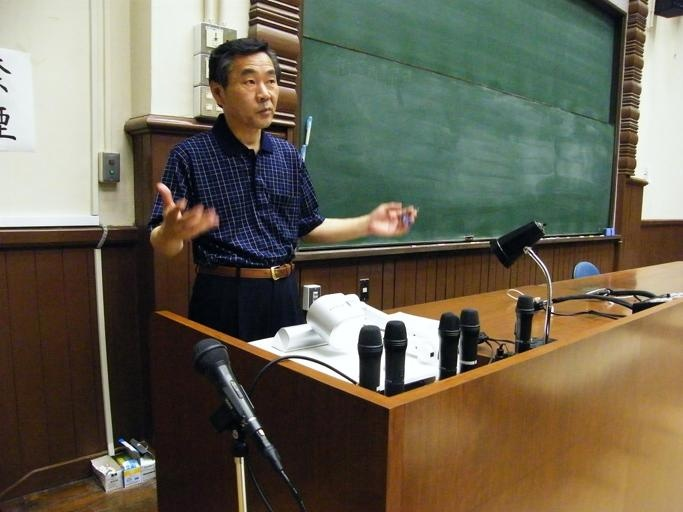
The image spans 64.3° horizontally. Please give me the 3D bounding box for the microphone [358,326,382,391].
[{"bbox_3d":[0.078,0.281,1.504,0.066,0.176,0.060,4,11,2],"label":"microphone"}]

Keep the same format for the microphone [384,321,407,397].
[{"bbox_3d":[0.155,0.282,1.556,0.067,0.217,0.136,5,11,8],"label":"microphone"}]

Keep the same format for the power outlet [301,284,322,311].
[{"bbox_3d":[-0.168,0.220,2.951,0.075,0.165,0.130,6,9,39],"label":"power outlet"}]

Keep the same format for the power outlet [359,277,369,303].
[{"bbox_3d":[0.148,0.222,3.595,0.020,0.205,0.150,1,2,36],"label":"power outlet"}]
